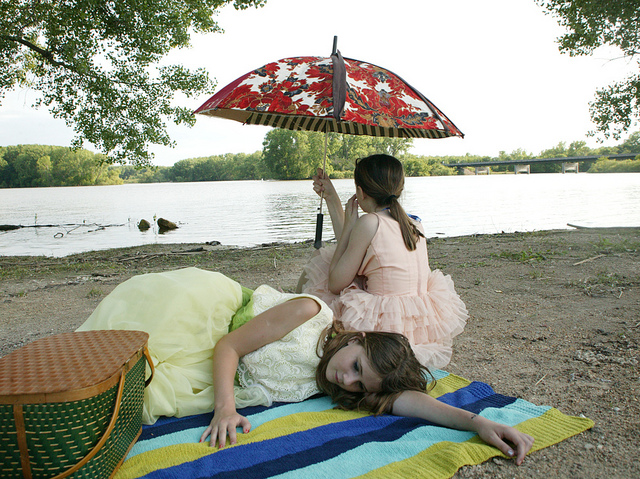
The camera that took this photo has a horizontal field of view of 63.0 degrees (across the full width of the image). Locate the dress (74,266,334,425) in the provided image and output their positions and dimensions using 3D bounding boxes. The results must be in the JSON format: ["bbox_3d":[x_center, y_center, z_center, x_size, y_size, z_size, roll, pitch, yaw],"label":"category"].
[{"bbox_3d":[-0.893,0.954,4.309,1.503,0.573,1.250,4,38,-10],"label":"dress"}]

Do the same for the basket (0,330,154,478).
[{"bbox_3d":[-1.629,1.048,3.538,0.709,0.792,1.188,2,4,7],"label":"basket"}]

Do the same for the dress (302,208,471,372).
[{"bbox_3d":[0.644,0.610,5.533,1.696,1.342,2.072,5,9,-23],"label":"dress"}]

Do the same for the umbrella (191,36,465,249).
[{"bbox_3d":[0.024,-0.957,5.752,2.514,2.401,2.460,1,5,-31],"label":"umbrella"}]
